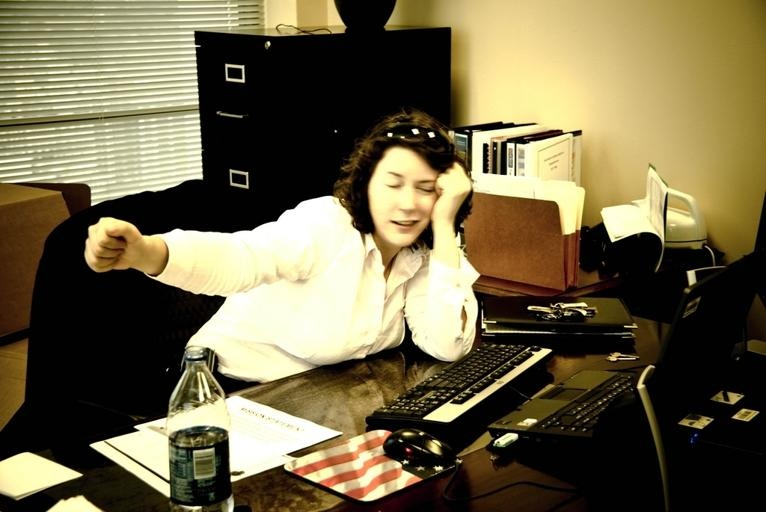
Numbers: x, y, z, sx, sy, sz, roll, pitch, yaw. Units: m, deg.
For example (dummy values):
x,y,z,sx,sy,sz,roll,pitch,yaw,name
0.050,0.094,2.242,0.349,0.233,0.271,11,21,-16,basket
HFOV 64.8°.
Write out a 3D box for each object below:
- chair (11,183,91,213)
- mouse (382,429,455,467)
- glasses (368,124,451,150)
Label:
x,y,z,sx,sy,sz,roll,pitch,yaw,name
-1.530,-0.262,2.768,0.215,0.120,0.202,-3,10,-29,chair
0.079,0.421,1.318,0.138,0.039,0.072,4,12,24,mouse
0.086,-0.362,1.808,0.182,0.044,0.096,6,45,-14,glasses
